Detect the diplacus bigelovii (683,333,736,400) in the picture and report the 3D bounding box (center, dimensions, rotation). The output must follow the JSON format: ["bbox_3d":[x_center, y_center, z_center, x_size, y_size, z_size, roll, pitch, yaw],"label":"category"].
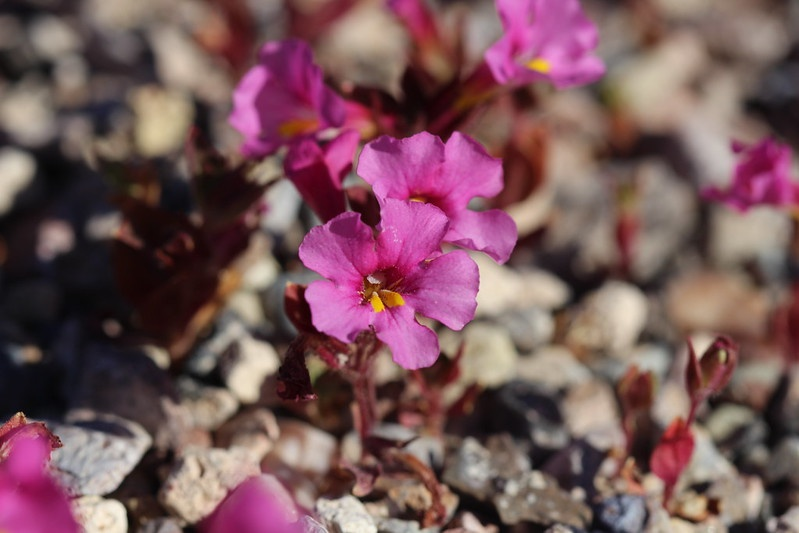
[{"bbox_3d":[0.450,0.146,1.436,0.067,0.095,0.028,21,17,31],"label":"diplacus bigelovii"}]
